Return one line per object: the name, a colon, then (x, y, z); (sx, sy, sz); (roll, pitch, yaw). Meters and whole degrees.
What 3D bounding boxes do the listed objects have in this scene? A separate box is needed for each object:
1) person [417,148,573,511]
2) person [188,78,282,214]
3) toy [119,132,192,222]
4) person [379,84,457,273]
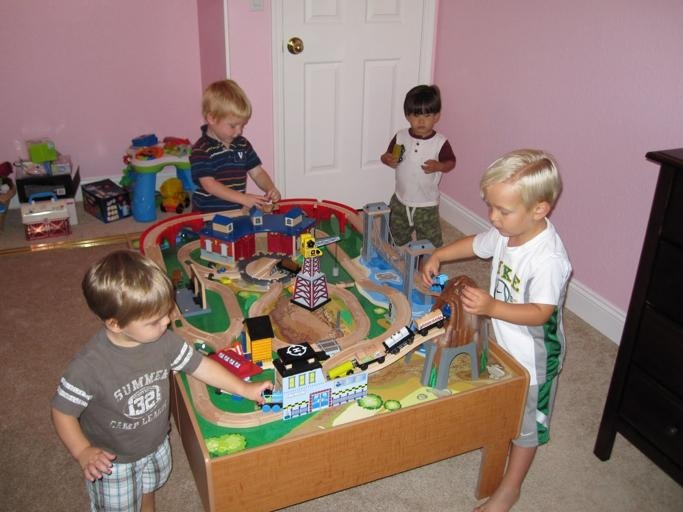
person: (0.588, 0.307, 2.054); (0.471, 1.421, 0.490); (-11, 26, -19)
person: (-0.585, -0.492, 2.954); (0.507, 0.915, 0.456); (9, 27, 1)
toy: (-1.544, -0.640, 4.392); (0.483, 0.570, 0.577); (17, 37, 17)
person: (0.520, -0.474, 3.701); (0.458, 1.400, 0.393); (14, 34, 26)
